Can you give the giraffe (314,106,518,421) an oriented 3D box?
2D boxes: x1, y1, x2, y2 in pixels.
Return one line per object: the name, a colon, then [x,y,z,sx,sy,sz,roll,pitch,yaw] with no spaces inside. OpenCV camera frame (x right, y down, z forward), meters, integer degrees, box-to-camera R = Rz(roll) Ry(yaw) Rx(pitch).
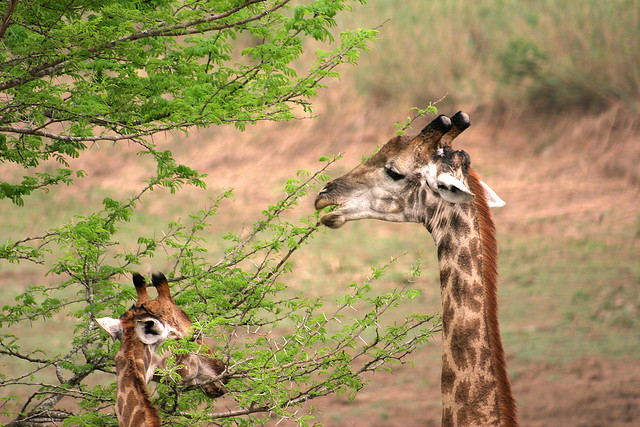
giraffe: [3.900,1.575,35.885,4.606,10.090,1.420,-20,-12,9]
